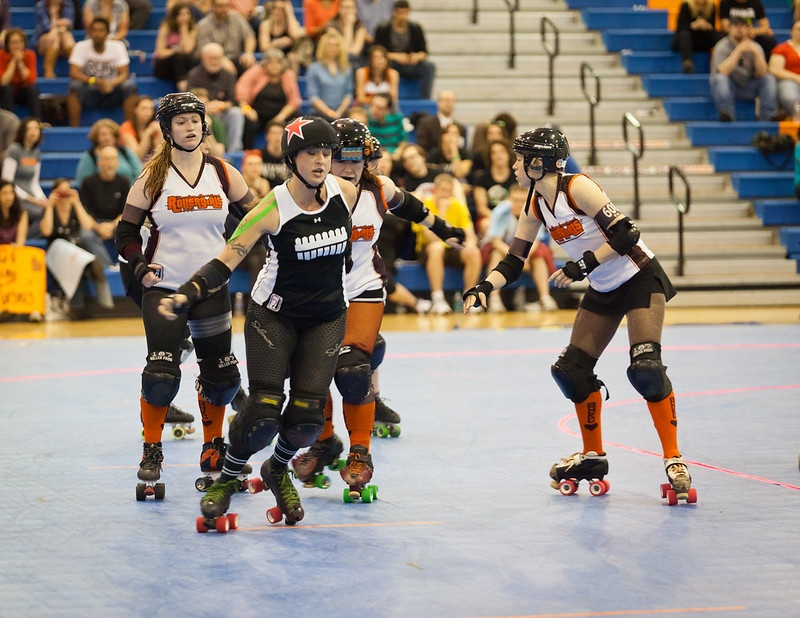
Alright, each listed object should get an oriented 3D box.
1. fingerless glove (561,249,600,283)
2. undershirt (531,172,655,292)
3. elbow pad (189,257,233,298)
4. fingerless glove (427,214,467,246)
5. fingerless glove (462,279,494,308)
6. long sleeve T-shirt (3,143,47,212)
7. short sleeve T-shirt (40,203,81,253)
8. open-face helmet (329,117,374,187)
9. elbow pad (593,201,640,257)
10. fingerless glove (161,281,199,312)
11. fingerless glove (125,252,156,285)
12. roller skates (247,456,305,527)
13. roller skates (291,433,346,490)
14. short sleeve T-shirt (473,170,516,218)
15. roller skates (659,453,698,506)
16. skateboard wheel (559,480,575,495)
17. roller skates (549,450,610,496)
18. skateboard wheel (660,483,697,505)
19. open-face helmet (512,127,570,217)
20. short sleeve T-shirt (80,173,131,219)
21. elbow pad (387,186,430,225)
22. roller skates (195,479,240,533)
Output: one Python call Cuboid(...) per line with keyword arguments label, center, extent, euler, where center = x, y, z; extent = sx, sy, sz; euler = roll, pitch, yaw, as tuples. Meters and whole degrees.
Cuboid(label="fingerless glove", center=(1.076, -0.247, 6.321), extent=(0.231, 0.143, 0.091), euler=(-41, -29, 14))
Cuboid(label="undershirt", center=(1.121, -0.543, 6.580), extent=(0.392, 0.723, 0.468), euler=(-32, 10, -30))
Cuboid(label="elbow pad", center=(-1.082, -0.151, 5.876), extent=(0.267, 0.169, 0.105), euler=(-47, 11, -19))
Cuboid(label="fingerless glove", center=(0.295, -0.511, 6.965), extent=(0.271, 0.108, 0.158), euler=(37, -21, 6))
Cuboid(label="fingerless glove", center=(0.521, -0.116, 6.643), extent=(0.123, 0.087, 0.214), euler=(-45, -4, 35))
Cuboid(label="long sleeve T-shirt", center=(-4.808, -1.676, 13.389), extent=(0.495, 0.856, 0.511), euler=(-4, 10, -20))
Cuboid(label="short sleeve T-shirt", center=(-4.304, -1.071, 13.312), extent=(0.595, 0.413, 0.779), euler=(2, -29, -7))
Cuboid(label="open-face helmet", center=(-0.288, -0.965, 6.504), extent=(0.306, 0.381, 0.398), euler=(-3, -13, -3))
Cuboid(label="elbow pad", center=(1.304, -0.478, 6.294), extent=(0.147, 0.326, 0.246), euler=(-44, -3, 42))
Cuboid(label="fingerless glove", center=(-1.184, -0.073, 5.739), extent=(0.123, 0.088, 0.203), euler=(-3, 20, 40))
Cuboid(label="fingerless glove", center=(-1.553, -0.248, 6.327), extent=(0.163, 0.171, 0.326), euler=(-3, 9, -18))
Cuboid(label="roller skates", center=(-0.682, 1.046, 6.018), extent=(0.219, 0.433, 0.213), euler=(-10, -32, -50))
Cuboid(label="roller skates", center=(-0.532, 0.916, 6.566), extent=(0.163, 0.190, 0.457), euler=(17, 31, 32))
Cuboid(label="short sleeve T-shirt", center=(1.333, -1.533, 14.081), extent=(0.624, 0.639, 0.344), euler=(-7, 7, 5))
Cuboid(label="roller skates", center=(1.659, 1.017, 6.295), extent=(0.215, 0.252, 0.408), euler=(-3, 2, 7))
Cuboid(label="skateboard wheel", center=(1.023, 1.085, 6.397), extent=(0.112, 0.093, 0.082), euler=(0, 9, 1))
Cuboid(label="roller skates", center=(1.097, 1.010, 6.474), extent=(0.376, 0.247, 0.277), euler=(-4, 2, 24))
Cuboid(label="skateboard wheel", center=(1.618, 1.084, 6.182), extent=(0.123, 0.059, 0.158), euler=(1, -1, -8))
Cuboid(label="open-face helmet", center=(0.862, -0.855, 6.530), extent=(0.382, 0.531, 0.329), euler=(4, 13, 8))
Cuboid(label="short sleeve T-shirt", center=(-3.801, -1.421, 13.437), extent=(0.722, 0.688, 0.362), euler=(-5, 23, -41))
Cuboid(label="elbow pad", center=(0.088, -0.651, 6.900), extent=(0.135, 0.119, 0.412), euler=(21, -6, 35))
Cuboid(label="roller skates", center=(-0.993, 1.098, 5.847), extent=(0.160, 0.261, 0.293), euler=(7, 11, 38))
